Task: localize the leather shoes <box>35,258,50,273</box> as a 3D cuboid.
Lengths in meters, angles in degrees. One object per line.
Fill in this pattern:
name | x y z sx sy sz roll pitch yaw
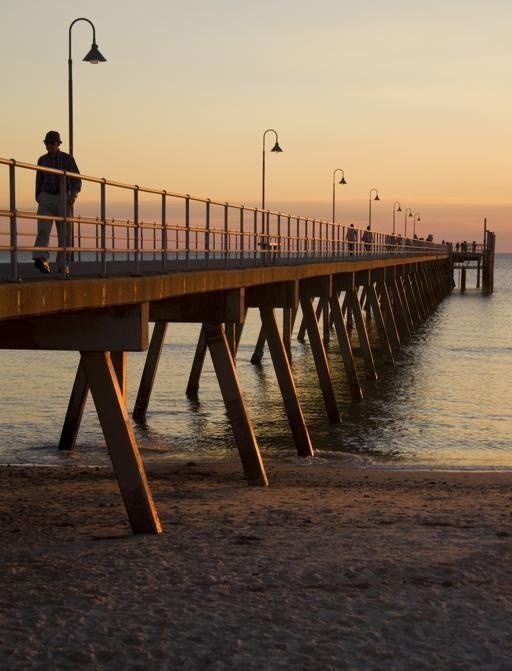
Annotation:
leather shoes | -1.733 -0.559 7.607 0.118 0.066 0.188 9 5 -21
